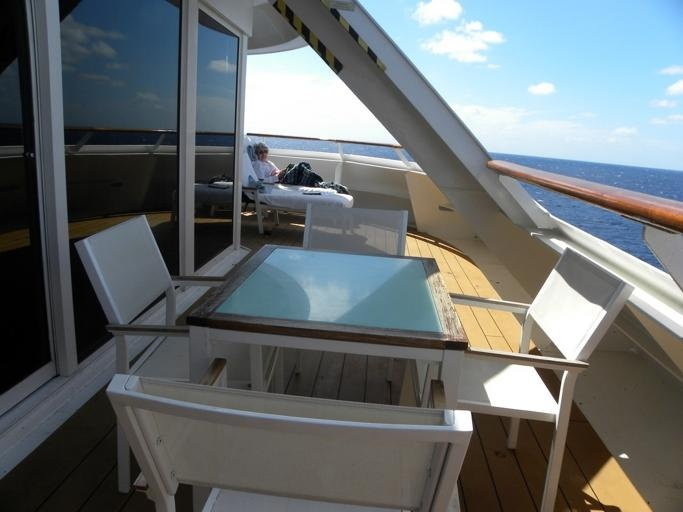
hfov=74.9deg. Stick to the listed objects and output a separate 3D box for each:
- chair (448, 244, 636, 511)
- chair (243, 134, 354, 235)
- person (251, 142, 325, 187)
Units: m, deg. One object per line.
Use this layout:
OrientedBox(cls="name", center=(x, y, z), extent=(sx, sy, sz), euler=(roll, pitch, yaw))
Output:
OrientedBox(cls="chair", center=(0.765, 0.504, 1.887), extent=(0.569, 1.093, 0.473), euler=(4, 4, 3))
OrientedBox(cls="chair", center=(-0.588, -0.742, 5.658), extent=(1.377, 1.047, 1.038), euler=(7, 31, 0))
OrientedBox(cls="person", center=(-0.747, -1.121, 5.950), extent=(0.993, 0.470, 0.529), euler=(7, 38, 1))
